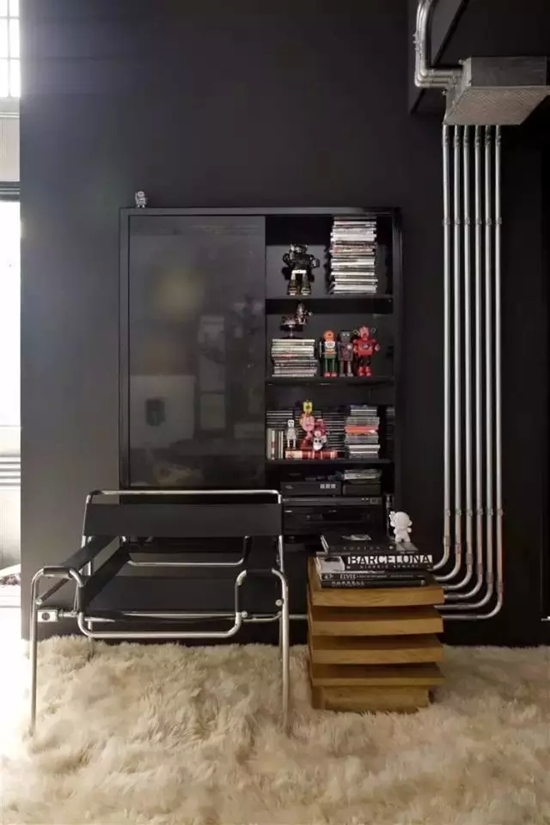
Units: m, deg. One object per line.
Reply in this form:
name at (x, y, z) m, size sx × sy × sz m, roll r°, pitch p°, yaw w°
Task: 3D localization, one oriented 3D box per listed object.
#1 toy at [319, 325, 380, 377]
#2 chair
toy at (0.328, -0.258, 3.407) m, size 0.235 × 0.232 × 0.099 m, roll 0°, pitch -2°, yaw -4°
chair at (-0.371, 0.665, 2.750) m, size 0.863 × 0.636 × 0.610 m, roll -1°, pitch 6°, yaw 1°
